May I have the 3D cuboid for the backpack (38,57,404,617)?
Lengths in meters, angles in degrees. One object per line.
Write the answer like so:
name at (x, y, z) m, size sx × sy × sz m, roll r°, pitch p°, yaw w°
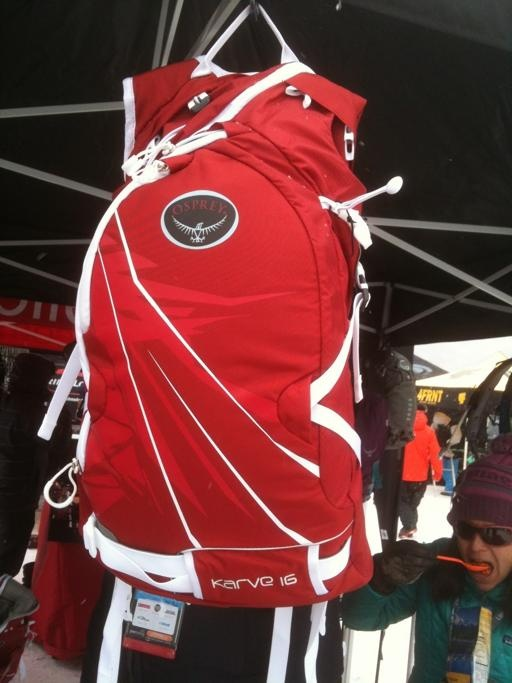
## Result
backpack at (-0.047, -0.062, 1.116) m, size 0.640 × 0.994 × 0.310 m, roll 6°, pitch 0°, yaw 13°
